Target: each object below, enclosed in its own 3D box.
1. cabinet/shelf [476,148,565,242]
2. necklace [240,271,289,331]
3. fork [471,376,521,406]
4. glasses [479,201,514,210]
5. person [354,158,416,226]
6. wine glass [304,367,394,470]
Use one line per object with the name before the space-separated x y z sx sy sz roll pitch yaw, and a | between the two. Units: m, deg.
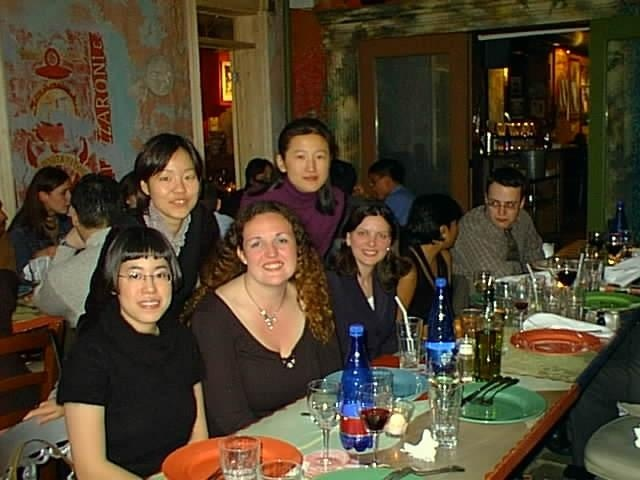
cabinet/shelf | 3.302 -0.948 8.881 1.070 1.619 1.089 9 34 21
necklace | -0.247 0.266 2.353 0.141 0.248 0.035 -5 -2 -19
fork | 0.648 0.560 2.023 0.073 0.031 0.224 8 22 43
glasses | 1.355 -0.260 4.016 0.206 0.065 0.047 4 15 17
person | 0.733 -0.468 5.584 0.463 0.697 0.870 4 18 19
wine glass | 0.100 0.566 1.753 0.301 0.293 0.202 -4 5 -33
